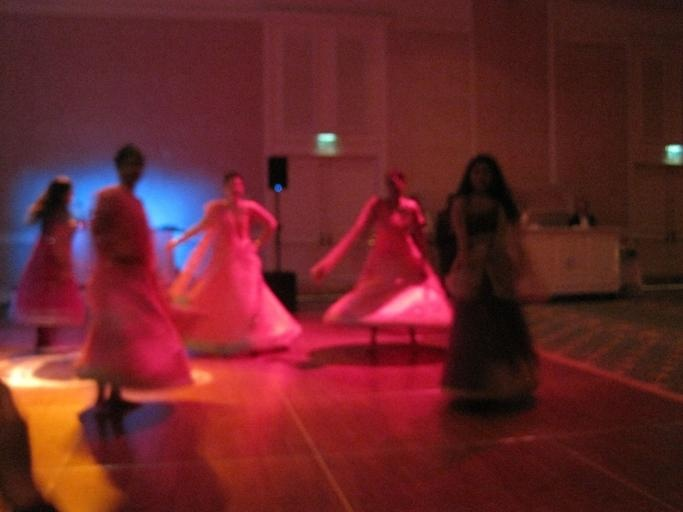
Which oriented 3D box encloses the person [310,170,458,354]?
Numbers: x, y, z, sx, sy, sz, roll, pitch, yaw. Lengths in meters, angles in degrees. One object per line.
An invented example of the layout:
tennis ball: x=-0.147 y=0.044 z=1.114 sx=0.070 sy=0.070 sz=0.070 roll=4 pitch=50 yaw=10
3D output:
person: x=0.396 y=-0.047 z=5.018 sx=1.090 sy=1.335 sz=0.363 roll=1 pitch=5 yaw=6

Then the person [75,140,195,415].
person: x=-1.243 y=0.096 z=3.482 sx=0.638 sy=1.463 sz=0.247 roll=-2 pitch=5 yaw=-27

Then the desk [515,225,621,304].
desk: x=3.330 y=0.055 z=8.134 sx=1.519 sy=1.033 sz=1.608 roll=0 pitch=-3 yaw=-4

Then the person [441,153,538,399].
person: x=0.921 y=0.149 z=3.565 sx=0.570 sy=1.502 sz=0.196 roll=1 pitch=5 yaw=12
